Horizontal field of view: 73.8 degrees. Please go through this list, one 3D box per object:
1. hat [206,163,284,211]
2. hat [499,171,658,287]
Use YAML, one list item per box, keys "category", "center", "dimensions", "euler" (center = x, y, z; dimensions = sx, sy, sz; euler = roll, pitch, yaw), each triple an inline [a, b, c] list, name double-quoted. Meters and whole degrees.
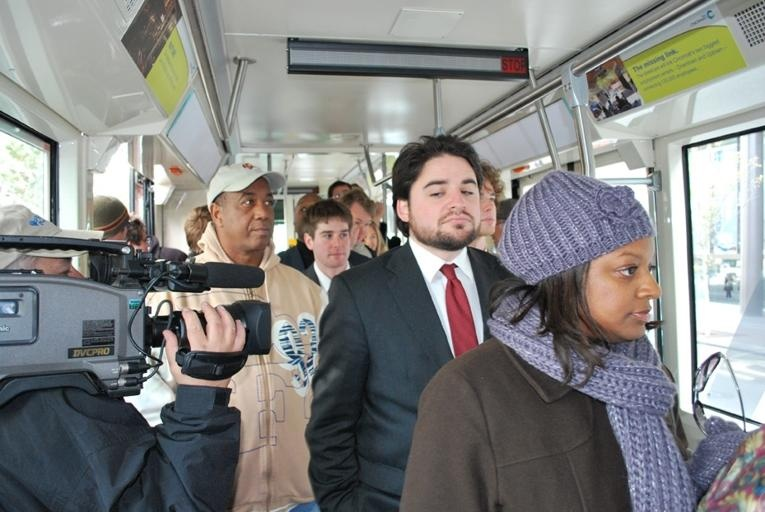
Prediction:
- category: "hat"
  center: [-0.918, -0.496, 3.249]
  dimensions: [0.457, 0.163, 0.307]
  euler: [-20, 5, 20]
- category: "hat"
  center: [0.686, -0.105, 1.823]
  dimensions: [0.473, 0.301, 0.364]
  euler: [-7, 7, 31]
